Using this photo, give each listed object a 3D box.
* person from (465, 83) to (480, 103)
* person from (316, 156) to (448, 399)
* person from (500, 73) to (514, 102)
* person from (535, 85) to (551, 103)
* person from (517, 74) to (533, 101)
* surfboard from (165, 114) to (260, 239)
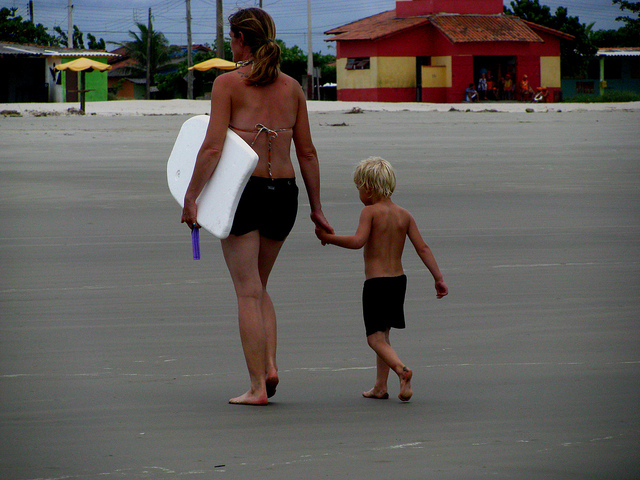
[{"bbox_3d":[5.123,-4.937,54.544,0.491,0.598,1.484,0,8,5],"label":"person"},{"bbox_3d":[0.659,0.383,16.434,1.137,2.375,0.702,0,8,2],"label":"person"},{"bbox_3d":[6.490,-5.297,56.183,0.475,0.853,1.064,0,8,6],"label":"person"},{"bbox_3d":[7.396,-4.811,53.836,0.479,0.440,1.244,1,8,8],"label":"person"},{"bbox_3d":[7.014,-5.189,55.336,0.510,0.804,1.487,0,8,6],"label":"person"},{"bbox_3d":[-1.070,-0.634,16.541,1.261,1.099,0.176,38,20,34],"label":"surfboard"}]
